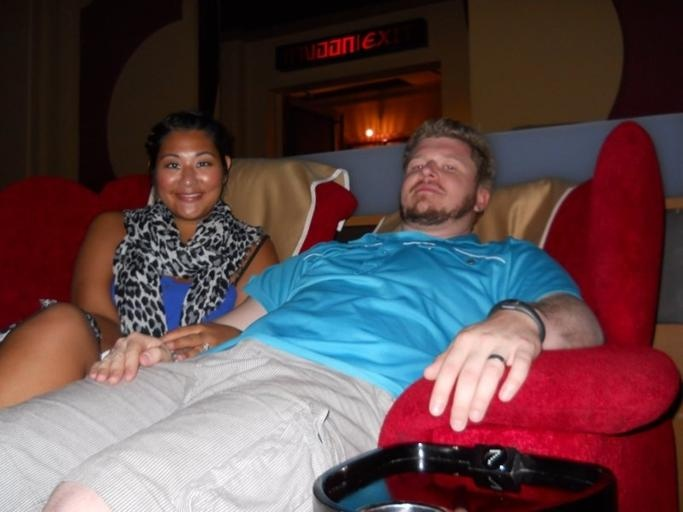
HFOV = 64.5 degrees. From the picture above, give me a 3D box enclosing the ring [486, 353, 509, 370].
[{"bbox_3d":[0.295,0.195,1.023,0.012,0.032,0.029,-33,36,-16],"label":"ring"}]
